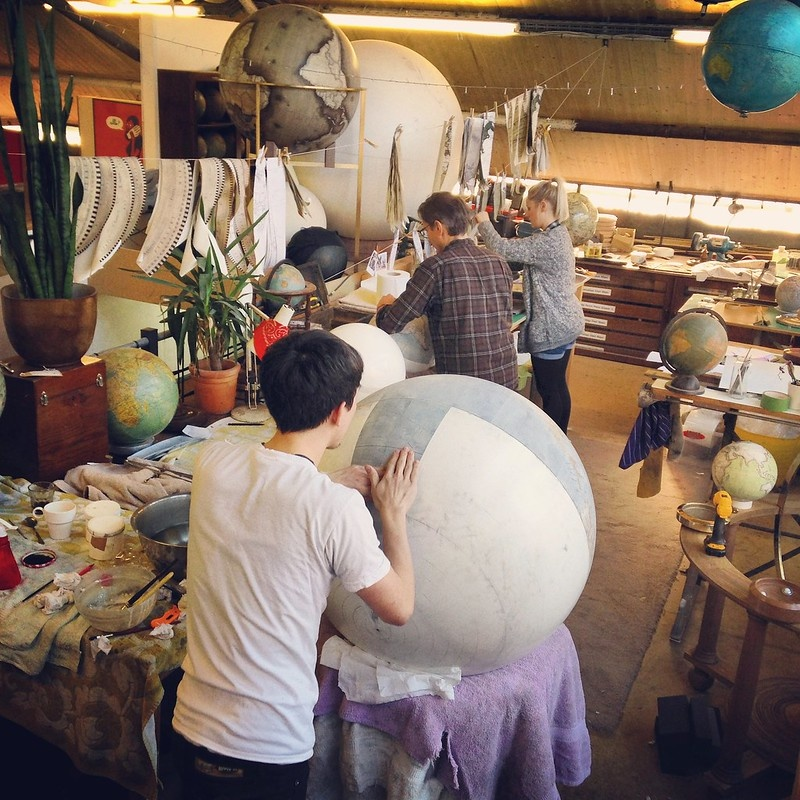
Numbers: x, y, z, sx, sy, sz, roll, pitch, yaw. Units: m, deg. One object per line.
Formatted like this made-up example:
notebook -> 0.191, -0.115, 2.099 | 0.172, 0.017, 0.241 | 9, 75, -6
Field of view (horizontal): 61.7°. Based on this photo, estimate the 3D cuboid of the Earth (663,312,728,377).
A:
Earth -> 1.459, -0.294, 3.409 | 0.355, 0.379, 0.292 | -2, 19, 8

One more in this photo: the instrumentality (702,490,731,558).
instrumentality -> 1.221, 0.446, 2.537 | 0.072, 0.234, 0.199 | 11, 18, 26

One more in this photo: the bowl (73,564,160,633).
bowl -> -0.720, 0.495, 1.687 | 0.154, 0.078, 0.153 | 7, 37, -5

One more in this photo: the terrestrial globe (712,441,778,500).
terrestrial globe -> 1.538, 0.303, 3.089 | 0.277, 0.279, 0.271 | -3, 1, -21

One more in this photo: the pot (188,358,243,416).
pot -> -0.836, -0.055, 3.143 | 0.249, 0.223, 0.257 | 3, 18, -1

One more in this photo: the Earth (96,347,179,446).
Earth -> -1.099, -0.009, 2.771 | 0.309, 0.323, 0.296 | -16, 13, 43

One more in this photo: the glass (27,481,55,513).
glass -> -1.176, 0.316, 2.224 | 0.101, 0.091, 0.090 | 4, -2, -43

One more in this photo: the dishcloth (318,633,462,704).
dishcloth -> -0.016, 0.660, 1.660 | 0.258, 0.148, 0.075 | 3, 9, 19

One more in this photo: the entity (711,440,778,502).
entity -> 1.524, 0.299, 3.086 | 0.282, 0.284, 0.276 | -3, 2, -23

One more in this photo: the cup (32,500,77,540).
cup -> -1.032, 0.358, 2.029 | 0.129, 0.084, 0.085 | -1, 4, -14

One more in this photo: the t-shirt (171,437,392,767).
t-shirt -> -0.263, 0.395, 1.265 | 0.402, 0.607, 0.253 | 15, 20, 37

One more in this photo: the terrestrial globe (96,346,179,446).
terrestrial globe -> -1.097, -0.009, 2.775 | 0.313, 0.327, 0.299 | -16, 13, 43

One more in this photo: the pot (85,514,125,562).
pot -> -0.847, 0.392, 1.978 | 0.128, 0.112, 0.116 | 6, 18, 1

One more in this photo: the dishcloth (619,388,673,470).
dishcloth -> 1.293, 0.167, 3.457 | 0.231, 0.340, 0.110 | 5, 17, 8

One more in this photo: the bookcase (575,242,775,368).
bookcase -> 2.470, -0.879, 6.186 | 1.688, 0.968, 0.573 | 8, 17, 12
